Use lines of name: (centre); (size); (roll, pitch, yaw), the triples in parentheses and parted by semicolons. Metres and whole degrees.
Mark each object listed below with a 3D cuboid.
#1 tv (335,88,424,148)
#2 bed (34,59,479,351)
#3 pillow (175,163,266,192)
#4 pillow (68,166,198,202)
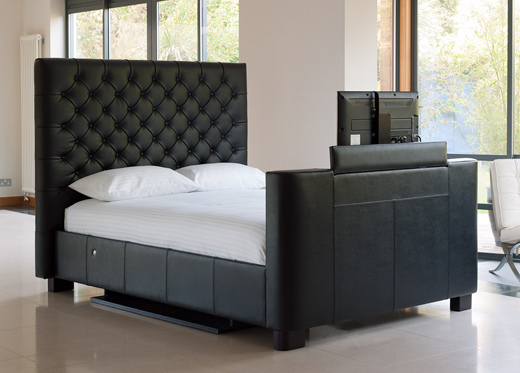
tv: (0.802, -0.475, 3.123); (0.717, 0.389, 0.151); (-1, 2, -36)
bed: (-0.139, -0.136, 3.485); (3.016, 2.026, 1.545); (1, 2, 35)
pillow: (-0.409, -0.106, 4.368); (1.055, 0.248, 0.804); (-2, 3, -40)
pillow: (-0.936, -0.011, 3.788); (0.712, 0.213, 0.435); (-7, 3, -33)
